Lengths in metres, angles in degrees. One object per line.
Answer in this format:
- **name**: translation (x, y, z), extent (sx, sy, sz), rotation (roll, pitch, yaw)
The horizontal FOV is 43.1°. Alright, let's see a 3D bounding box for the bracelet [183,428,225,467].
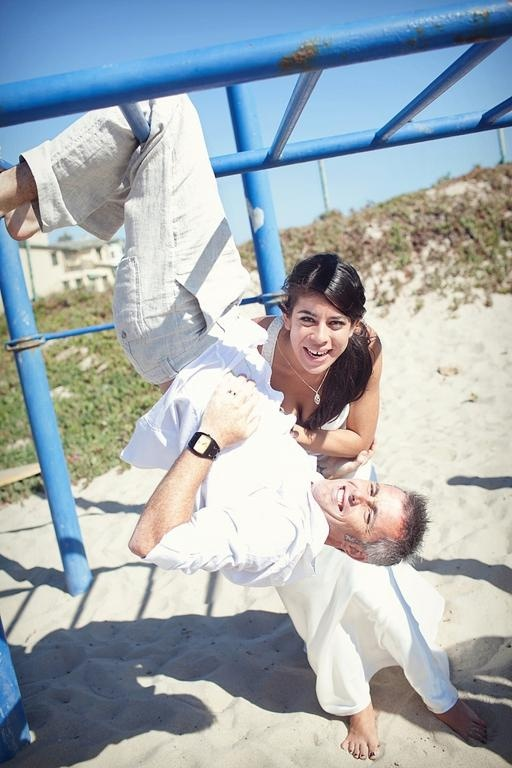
- **bracelet**: translation (-0.139, 0.174, 1.834), extent (0.099, 0.058, 0.096), rotation (22, 2, -36)
